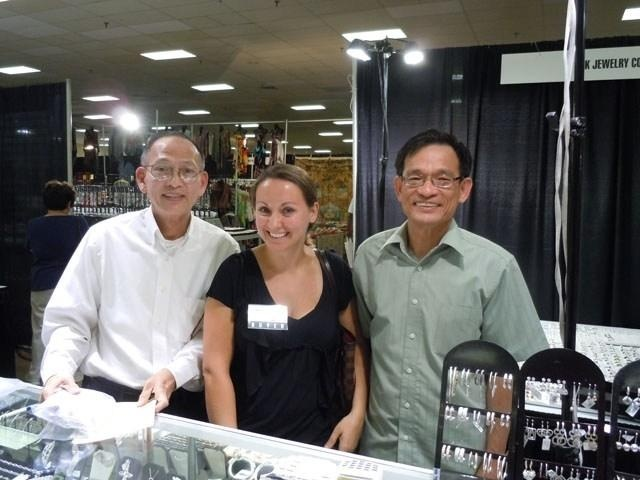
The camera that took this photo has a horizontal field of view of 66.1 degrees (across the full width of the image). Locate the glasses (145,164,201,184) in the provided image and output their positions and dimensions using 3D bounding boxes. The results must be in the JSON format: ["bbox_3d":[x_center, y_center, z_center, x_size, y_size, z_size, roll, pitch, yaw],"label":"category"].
[{"bbox_3d":[-0.711,-0.323,2.397,0.233,0.081,0.076,-1,5,-23],"label":"glasses"}]

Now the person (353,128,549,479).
[{"bbox_3d":[0.533,0.247,2.188,0.793,1.449,0.323,1,4,7],"label":"person"}]

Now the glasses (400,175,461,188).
[{"bbox_3d":[0.473,-0.244,2.094,0.229,0.053,0.075,2,5,15],"label":"glasses"}]
